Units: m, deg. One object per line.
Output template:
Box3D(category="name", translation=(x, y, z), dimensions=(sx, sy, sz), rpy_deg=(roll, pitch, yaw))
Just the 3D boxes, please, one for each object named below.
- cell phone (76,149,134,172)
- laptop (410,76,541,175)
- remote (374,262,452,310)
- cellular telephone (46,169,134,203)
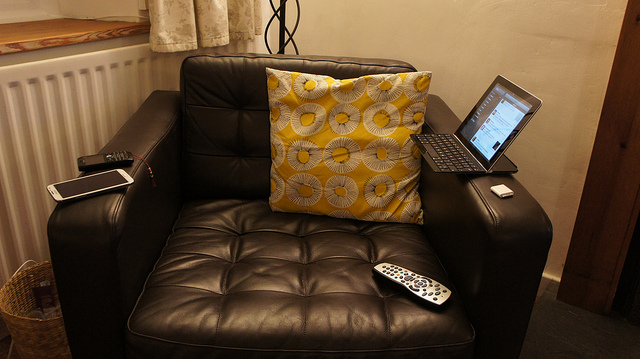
Box3D(category="cell phone", translation=(-0.836, -0.080, 1.657), dimensions=(0.206, 0.045, 0.090), rpy_deg=(-7, 39, -14))
Box3D(category="laptop", translation=(0.725, -0.256, 1.685), dimensions=(0.288, 0.188, 0.317), rpy_deg=(28, 22, -16))
Box3D(category="remote", translation=(0.347, 0.391, 1.632), dimensions=(0.304, 0.068, 0.122), rpy_deg=(27, 51, 30))
Box3D(category="cellular telephone", translation=(-0.867, 0.026, 1.590), dimensions=(0.269, 0.026, 0.146), rpy_deg=(-20, 33, -29))
